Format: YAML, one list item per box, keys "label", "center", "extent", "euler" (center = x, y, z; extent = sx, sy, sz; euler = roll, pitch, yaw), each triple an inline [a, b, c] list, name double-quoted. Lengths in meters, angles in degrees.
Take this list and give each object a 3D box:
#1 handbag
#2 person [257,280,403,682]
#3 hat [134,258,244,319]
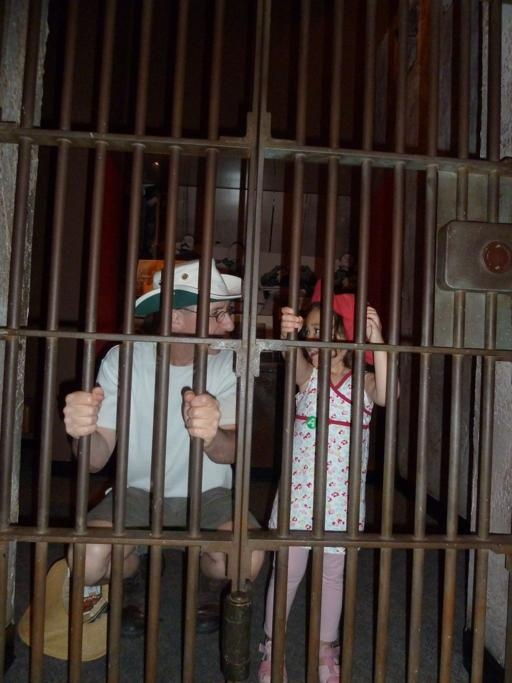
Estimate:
- label: "handbag"
  center: [-0.572, 0.838, 2.296]
  extent: [0.236, 0.271, 0.327]
  euler: [4, -4, -38]
- label: "person"
  center: [0.202, 0.397, 2.217]
  extent: [0.355, 1.230, 0.768]
  euler: [2, -3, 3]
- label: "hat"
  center: [-0.226, -0.123, 2.361]
  extent: [0.258, 0.120, 0.222]
  euler: [-12, 5, 8]
